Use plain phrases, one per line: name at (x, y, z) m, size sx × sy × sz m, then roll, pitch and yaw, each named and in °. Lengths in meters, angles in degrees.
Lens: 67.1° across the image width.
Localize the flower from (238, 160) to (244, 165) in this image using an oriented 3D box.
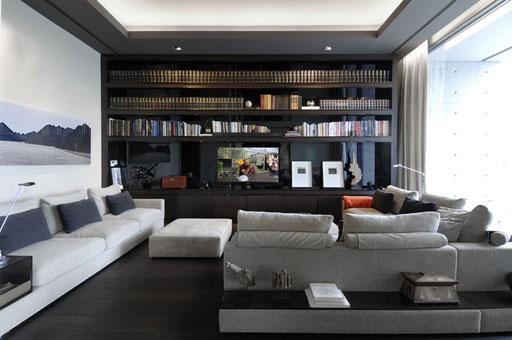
flower at (-0.338, -0.166, 8.907) m, size 0.115 × 0.106 × 0.054 m, roll 5°, pitch -1°, yaw -2°

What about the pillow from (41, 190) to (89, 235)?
pillow at (-3.163, 0.727, 6.383) m, size 0.244 × 0.431 × 0.688 m, roll -3°, pitch 5°, yaw 17°

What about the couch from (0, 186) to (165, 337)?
couch at (-2.903, 1.225, 6.330) m, size 0.991 × 1.632 × 2.909 m, roll 2°, pitch 5°, yaw 27°
